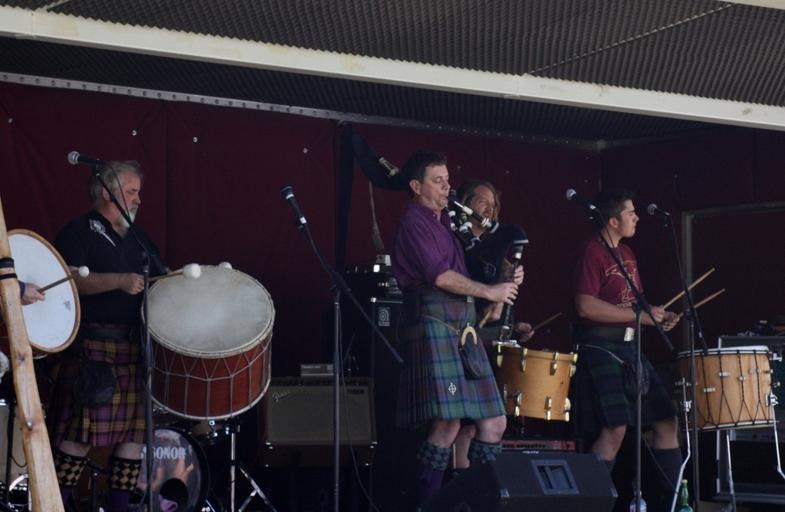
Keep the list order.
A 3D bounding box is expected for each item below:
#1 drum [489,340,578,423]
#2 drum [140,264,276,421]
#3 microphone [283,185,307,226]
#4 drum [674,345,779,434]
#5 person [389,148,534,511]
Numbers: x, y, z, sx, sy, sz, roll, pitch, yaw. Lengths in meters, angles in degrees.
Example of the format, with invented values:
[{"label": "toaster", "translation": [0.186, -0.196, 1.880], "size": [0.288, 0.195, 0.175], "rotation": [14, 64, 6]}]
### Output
[{"label": "drum", "translation": [0.919, 0.786, 6.233], "size": [0.482, 0.374, 0.484], "rotation": [9, -9, 1]}, {"label": "drum", "translation": [-1.089, 0.504, 5.780], "size": [0.788, 0.579, 0.769], "rotation": [3, 41, -3]}, {"label": "microphone", "translation": [-0.561, -0.296, 5.595], "size": [0.141, 0.278, 0.414], "rotation": [2, -6, -5]}, {"label": "drum", "translation": [2.202, 0.831, 6.263], "size": [0.546, 0.453, 0.539], "rotation": [-3, -6, -30]}, {"label": "person", "translation": [0.351, 0.270, 5.859], "size": [0.705, 1.861, 0.322], "rotation": [1, -6, -1]}]
